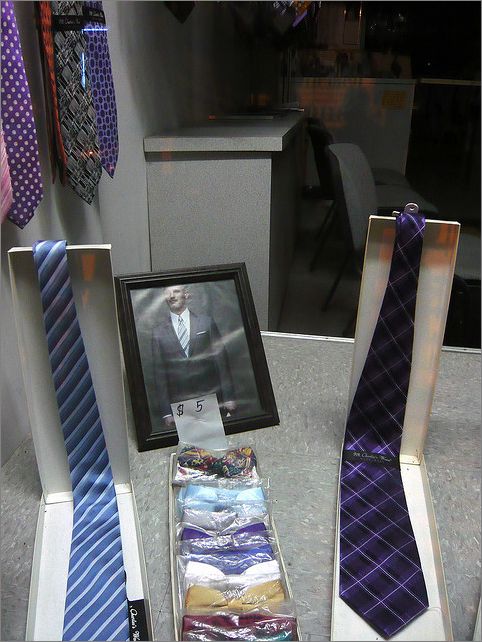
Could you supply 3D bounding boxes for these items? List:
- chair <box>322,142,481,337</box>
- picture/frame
[{"bbox_3d":[0.443,-0.306,1.299,0.454,0.656,0.343,1,29,15],"label":"chair"},{"bbox_3d":[-0.080,0.055,0.759,0.237,0.023,0.344,-3,53,-19],"label":"picture/frame"}]
